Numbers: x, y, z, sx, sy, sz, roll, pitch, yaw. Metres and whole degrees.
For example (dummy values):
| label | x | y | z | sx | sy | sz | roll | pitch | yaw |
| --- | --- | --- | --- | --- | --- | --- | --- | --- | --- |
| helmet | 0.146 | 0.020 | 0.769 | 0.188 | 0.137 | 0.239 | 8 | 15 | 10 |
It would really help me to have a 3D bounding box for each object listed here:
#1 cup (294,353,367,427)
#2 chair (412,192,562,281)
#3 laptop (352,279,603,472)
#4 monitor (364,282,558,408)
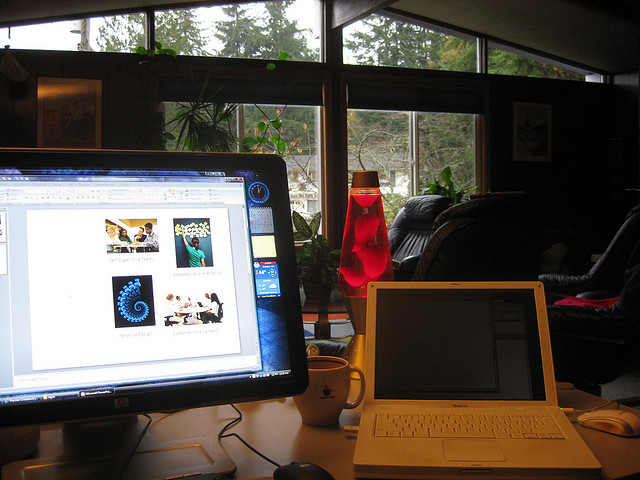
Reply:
| label | x | y | z | sx | sy | sz | roll | pitch | yaw |
| --- | --- | --- | --- | --- | --- | --- | --- | --- | --- |
| cup | 0.014 | 0.306 | 1.059 | 0.153 | 0.104 | 0.116 | 0 | -13 | -3 |
| chair | 0.635 | 0.047 | 1.953 | 0.338 | 0.391 | 0.321 | 10 | -38 | 4 |
| laptop | 0.270 | 0.190 | 0.998 | 0.375 | 0.205 | 0.341 | 0 | 2 | 2 |
| monitor | 0.289 | 0.205 | 0.940 | 0.399 | 0.238 | 0.231 | 3 | -2 | -12 |
